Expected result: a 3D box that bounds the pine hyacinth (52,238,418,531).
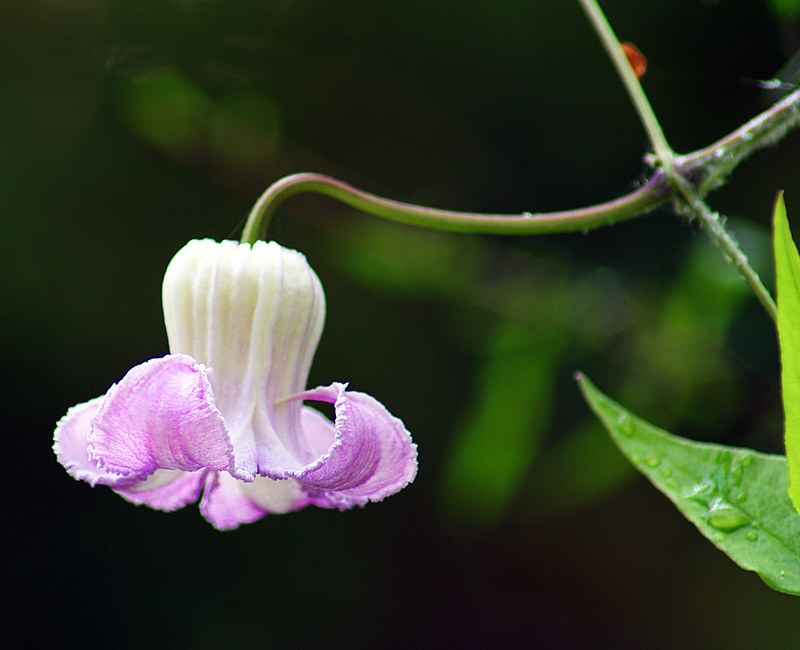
[{"bbox_3d":[-0.221,0.144,1.315,0.429,0.349,0.398,13,-20,-32],"label":"pine hyacinth"}]
